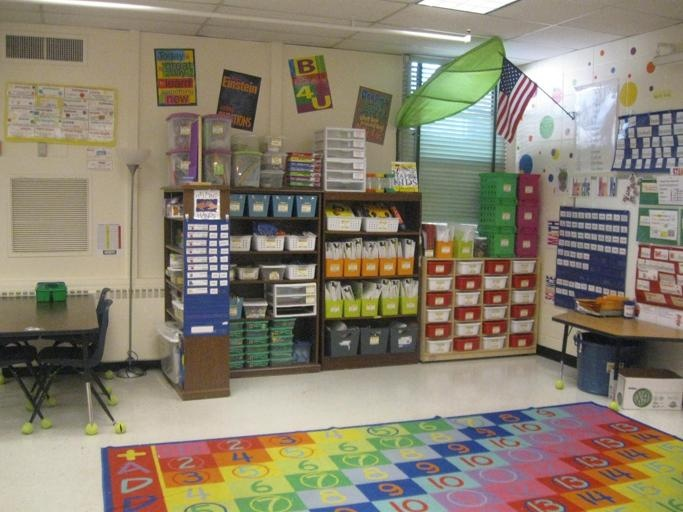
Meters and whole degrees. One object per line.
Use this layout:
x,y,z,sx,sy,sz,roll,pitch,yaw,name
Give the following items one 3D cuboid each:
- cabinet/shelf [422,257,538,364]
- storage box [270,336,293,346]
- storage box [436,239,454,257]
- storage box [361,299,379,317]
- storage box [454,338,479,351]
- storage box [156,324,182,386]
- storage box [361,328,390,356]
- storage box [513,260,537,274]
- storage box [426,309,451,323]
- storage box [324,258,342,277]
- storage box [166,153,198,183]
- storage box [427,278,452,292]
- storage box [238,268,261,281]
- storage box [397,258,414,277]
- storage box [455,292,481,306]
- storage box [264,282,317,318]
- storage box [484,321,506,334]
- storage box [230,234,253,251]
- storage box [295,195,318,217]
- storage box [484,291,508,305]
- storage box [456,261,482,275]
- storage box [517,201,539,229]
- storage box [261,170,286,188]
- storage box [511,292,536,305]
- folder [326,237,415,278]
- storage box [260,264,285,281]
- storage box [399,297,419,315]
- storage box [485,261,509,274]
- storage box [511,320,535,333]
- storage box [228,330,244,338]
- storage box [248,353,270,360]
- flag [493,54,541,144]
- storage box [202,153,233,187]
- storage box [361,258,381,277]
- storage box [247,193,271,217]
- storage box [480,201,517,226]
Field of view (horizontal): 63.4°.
1.703,0.692,7.082,1.314,1.079,0.456,0,8,-11,cabinet/shelf
-0.691,0.987,6.416,0.170,0.066,0.119,0,2,-19,storage box
1.307,-0.094,7.115,0.208,0.201,0.211,0,2,-11,storage box
0.334,0.600,6.772,0.262,0.261,0.194,0,2,-29,storage box
1.593,1.122,7.119,0.255,0.121,0.176,0,1,-16,storage box
-1.873,1.078,6.026,0.444,0.438,0.618,-1,4,-24,storage box
0.391,1.027,6.759,0.337,0.318,0.330,1,-2,-18,storage box
2.390,0.136,7.241,0.245,0.123,0.177,-1,4,-15,storage box
1.222,0.749,6.964,0.256,0.113,0.181,0,-1,-7,storage box
-0.116,0.141,6.653,0.255,0.244,0.186,0,0,-17,storage box
-1.672,-0.914,5.823,0.168,0.316,0.535,-5,11,-30,storage box
1.232,0.352,6.951,0.234,0.118,0.183,0,3,-10,storage box
-1.074,0.196,6.303,0.239,0.144,0.179,0,10,-7,storage box
0.758,0.123,6.954,0.268,0.257,0.203,2,11,-11,storage box
1.619,0.538,7.039,0.256,0.131,0.177,-1,3,-11,storage box
-0.561,0.484,6.404,0.463,0.328,0.458,0,0,-21,storage box
1.986,0.916,7.181,0.252,0.120,0.162,-1,4,-20,storage box
-1.131,-0.141,6.265,0.154,0.098,0.203,2,6,11,storage box
-0.421,-0.569,6.452,0.248,0.240,0.247,2,-3,-32,storage box
2.003,0.534,7.198,0.268,0.128,0.177,-1,4,-15,storage box
1.638,0.140,7.063,0.342,0.184,0.097,-2,11,-17,storage box
2.439,-0.534,7.240,0.320,0.307,0.310,0,2,2,storage box
-0.792,-0.882,6.353,0.241,0.144,0.189,0,3,1,storage box
2.380,0.546,7.296,0.236,0.115,0.164,-1,6,-16,storage box
0.317,0.184,6.950,1.131,0.510,0.602,-1,-29,12,folder
-0.800,0.184,6.402,0.301,0.171,0.226,0,10,-7,storage box
0.841,0.627,6.858,0.215,0.203,0.207,2,4,4,storage box
2.014,0.134,7.173,0.250,0.129,0.174,-1,4,-15,storage box
2.375,0.921,7.289,0.247,0.117,0.164,-1,4,-14,storage box
-1.190,0.868,6.176,0.161,0.071,0.211,1,-1,-17,storage box
-0.960,1.144,6.350,0.258,0.080,0.025,-3,11,-24,storage box
2.261,-2.030,7.048,0.087,0.971,0.878,-15,27,-15,flag
-1.301,-0.903,5.827,0.349,0.367,0.348,-1,1,7,storage box
0.348,0.142,6.700,0.216,0.204,0.211,3,-5,-34,storage box
-0.938,-0.572,6.251,0.250,0.243,0.249,0,4,-12,storage box
2.027,-0.543,7.230,0.326,0.204,0.325,2,-1,-45,storage box
